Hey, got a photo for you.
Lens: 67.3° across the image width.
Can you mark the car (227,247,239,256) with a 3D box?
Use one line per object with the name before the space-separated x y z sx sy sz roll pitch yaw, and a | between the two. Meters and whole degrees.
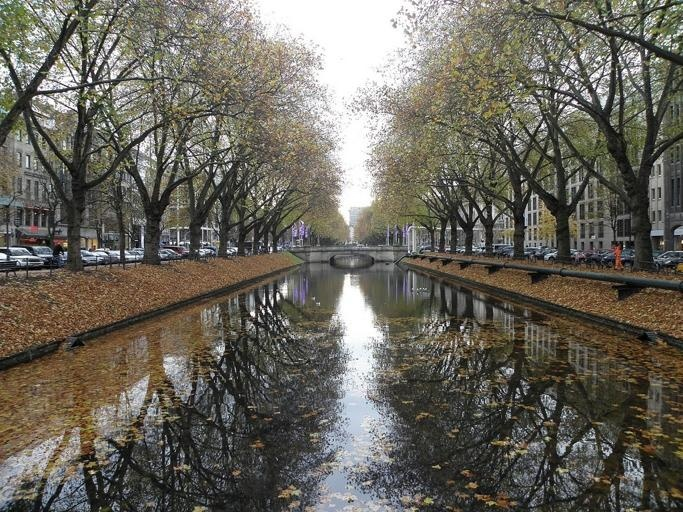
car | -14.773 -0.666 70.257 2.365 0.807 1.557 2 5 43
